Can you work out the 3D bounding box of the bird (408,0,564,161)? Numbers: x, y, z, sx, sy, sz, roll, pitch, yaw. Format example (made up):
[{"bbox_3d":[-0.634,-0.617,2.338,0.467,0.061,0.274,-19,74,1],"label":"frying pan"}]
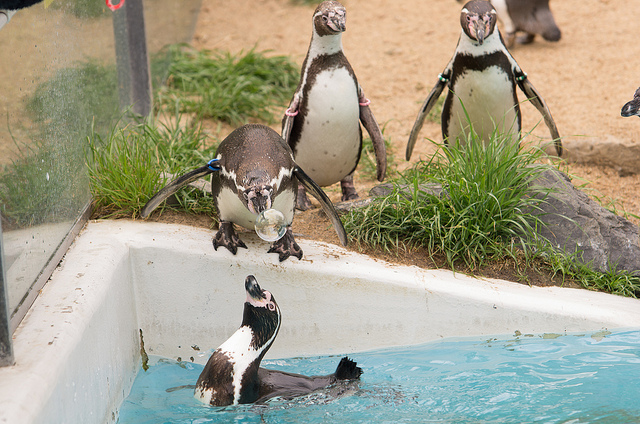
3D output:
[{"bbox_3d":[1.141,-0.857,5.548,0.970,1.183,0.924,2,28,6],"label":"bird"}]

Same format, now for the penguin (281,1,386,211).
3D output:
[{"bbox_3d":[0.200,-0.752,5.807,0.864,1.499,1.546,2,2,4],"label":"penguin"}]

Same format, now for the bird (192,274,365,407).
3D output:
[{"bbox_3d":[-0.206,0.829,4.664,0.995,0.913,0.573,0,19,-23],"label":"bird"}]
